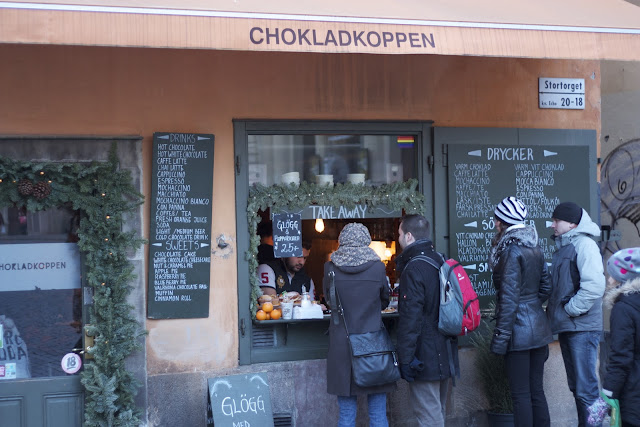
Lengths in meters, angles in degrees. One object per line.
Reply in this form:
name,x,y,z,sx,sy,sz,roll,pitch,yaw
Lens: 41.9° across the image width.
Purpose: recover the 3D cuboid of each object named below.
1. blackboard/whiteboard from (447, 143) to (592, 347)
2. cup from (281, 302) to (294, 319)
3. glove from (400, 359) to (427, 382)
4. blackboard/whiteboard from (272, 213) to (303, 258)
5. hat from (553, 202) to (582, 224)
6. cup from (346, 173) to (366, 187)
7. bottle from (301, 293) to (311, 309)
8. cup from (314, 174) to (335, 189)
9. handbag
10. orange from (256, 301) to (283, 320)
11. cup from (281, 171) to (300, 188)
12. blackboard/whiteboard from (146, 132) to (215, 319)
blackboard/whiteboard,2.065,0.402,8.993,1.879,2.555,0.089,1,-5,-12
cup,-0.357,1.057,9.113,0.133,0.176,0.146,0,-1,0
glove,0.906,1.570,8.347,0.204,0.231,0.096,-27,-2,5
blackboard/whiteboard,-0.368,0.227,9.258,0.382,0.627,0.027,-2,5,-6
hat,2.604,0.020,8.839,0.221,0.173,0.229,19,2,7
cup,0.406,-0.373,9.411,0.128,0.111,0.137,1,-2,0
bottle,-0.162,0.961,9.155,0.120,0.200,0.119,0,1,0
cup,0.044,-0.350,9.358,0.141,0.129,0.157,0,-3,12
handbag,0.542,1.463,8.507,0.454,0.577,0.497,-2,-2,-6
orange,-0.559,1.079,9.113,0.206,0.106,0.203,-31,53,-35
cup,-0.323,-0.379,9.301,0.155,0.134,0.151,1,2,0
blackboard/whiteboard,-1.494,0.127,8.998,0.715,1.932,0.498,-2,13,-4
